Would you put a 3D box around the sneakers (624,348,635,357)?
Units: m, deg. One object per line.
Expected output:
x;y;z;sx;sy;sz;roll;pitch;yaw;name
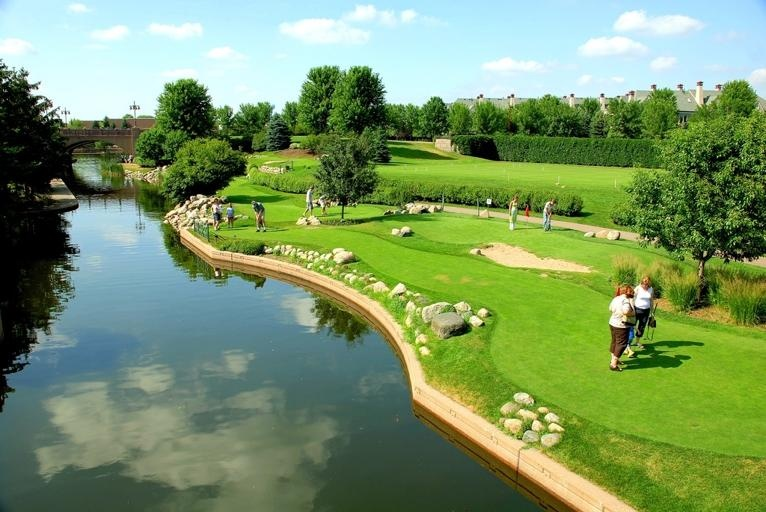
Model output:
9.577;3.772;23.219;0.241;0.196;0.416;1;13;16;sneakers
